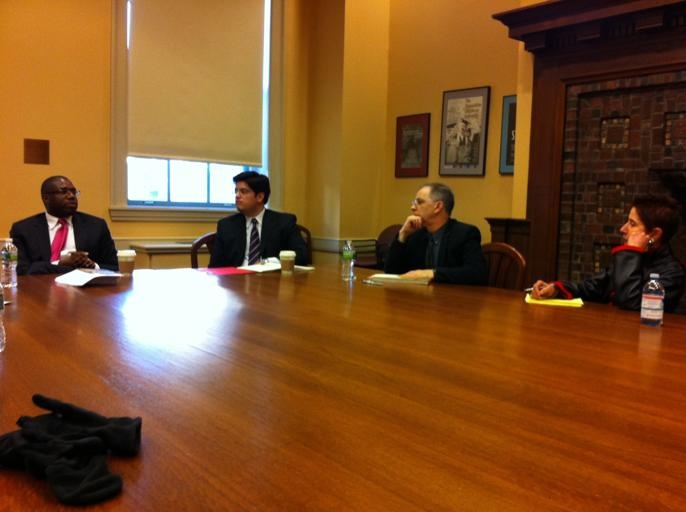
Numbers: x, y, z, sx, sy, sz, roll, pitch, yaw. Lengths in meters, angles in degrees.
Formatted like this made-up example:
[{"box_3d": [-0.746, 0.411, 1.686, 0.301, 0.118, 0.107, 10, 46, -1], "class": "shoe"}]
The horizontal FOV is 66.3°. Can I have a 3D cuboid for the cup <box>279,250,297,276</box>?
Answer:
[{"box_3d": [-0.332, 0.034, 3.145, 0.108, 0.128, 0.114, 0, -2, 0], "class": "cup"}]

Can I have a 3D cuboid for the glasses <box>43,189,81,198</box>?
[{"box_3d": [-1.833, -0.407, 3.392, 0.109, 0.033, 0.109, -3, 0, 37], "class": "glasses"}]

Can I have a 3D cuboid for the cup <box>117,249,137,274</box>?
[{"box_3d": [-1.259, 0.031, 2.976, 0.125, 0.156, 0.132, 0, -6, 0], "class": "cup"}]

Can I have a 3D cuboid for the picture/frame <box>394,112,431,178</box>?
[{"box_3d": [0.739, -1.169, 5.498, 0.036, 0.926, 0.622, -6, 8, -39], "class": "picture/frame"}]

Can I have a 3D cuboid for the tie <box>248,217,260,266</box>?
[{"box_3d": [-0.628, -0.102, 3.708, 0.093, 0.419, 0.030, -4, 43, -17], "class": "tie"}]

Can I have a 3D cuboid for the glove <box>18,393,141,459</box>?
[{"box_3d": [-0.525, 0.336, 1.056, 0.205, 0.067, 0.128, 10, 4, -3], "class": "glove"}]

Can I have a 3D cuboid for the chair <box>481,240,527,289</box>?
[{"box_3d": [0.974, 0.047, 3.168, 0.267, 0.436, 0.248, -2, 2, -43], "class": "chair"}]

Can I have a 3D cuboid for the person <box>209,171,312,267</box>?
[{"box_3d": [-0.635, -0.049, 3.772, 0.736, 1.043, 0.449, -2, -13, -5], "class": "person"}]

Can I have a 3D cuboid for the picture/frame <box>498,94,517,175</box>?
[{"box_3d": [1.497, -1.100, 4.792, 0.160, 0.722, 0.081, 8, 13, 34], "class": "picture/frame"}]
